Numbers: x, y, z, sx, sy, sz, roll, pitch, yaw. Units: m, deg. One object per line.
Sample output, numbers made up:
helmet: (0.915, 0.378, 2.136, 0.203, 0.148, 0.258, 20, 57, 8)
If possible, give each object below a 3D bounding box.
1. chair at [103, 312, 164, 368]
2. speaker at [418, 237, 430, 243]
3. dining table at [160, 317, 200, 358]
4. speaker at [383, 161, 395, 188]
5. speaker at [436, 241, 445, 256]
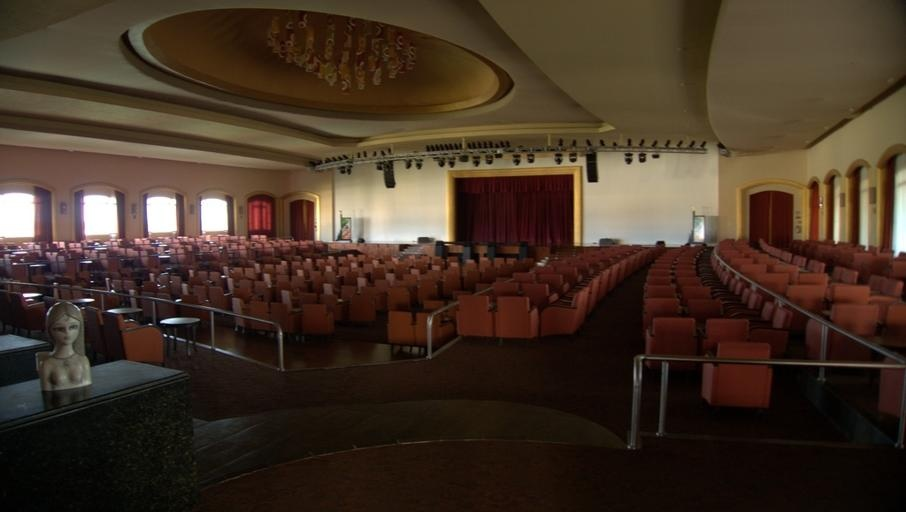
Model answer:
chair: (-6.870, 1.840, 11.414, 0.875, 1.015, 1.208, -7, 11, -44)
speaker: (-1.734, -0.931, 32.736, 0.578, 0.238, 0.392, 1, 1, 7)
dining table: (-6.677, 2.024, 13.217, 1.152, 0.878, 1.098, 0, 0, 44)
speaker: (-3.411, -4.355, 28.388, 0.547, 1.292, 1.228, -2, 4, -11)
speaker: (-0.705, -0.379, 29.863, 0.667, 0.770, 0.573, 1, 4, 29)
